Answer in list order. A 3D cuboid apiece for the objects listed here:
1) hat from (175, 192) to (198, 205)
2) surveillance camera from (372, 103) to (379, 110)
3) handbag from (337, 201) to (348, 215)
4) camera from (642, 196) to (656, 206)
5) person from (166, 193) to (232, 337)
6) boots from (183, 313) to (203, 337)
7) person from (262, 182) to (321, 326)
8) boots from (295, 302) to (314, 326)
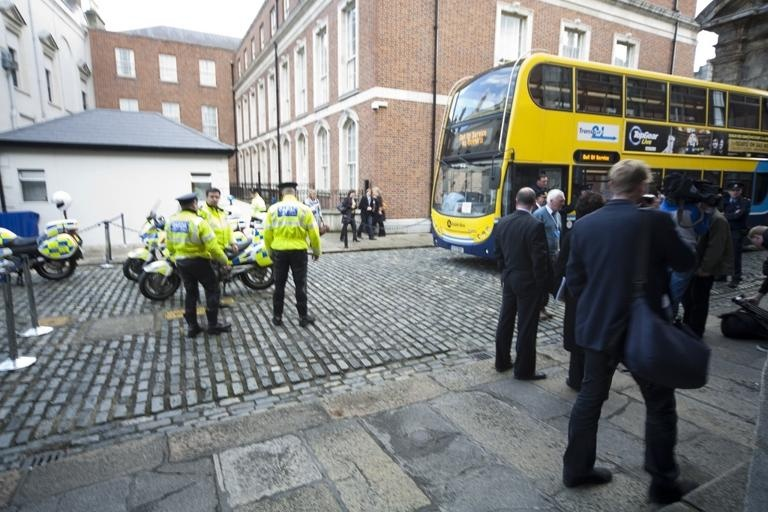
[{"bbox_3d":[-3.615,-1.048,9.587,0.326,0.170,0.440,-3,13,-17],"label":"hat"},{"bbox_3d":[-0.310,-5.713,19.985,0.325,0.189,0.250,0,6,-10],"label":"surveillance camera"},{"bbox_3d":[-1.397,-1.631,18.435,0.490,0.241,0.354,-13,26,-29],"label":"handbag"},{"bbox_3d":[3.812,-0.790,7.494,0.124,0.131,0.129,6,23,20],"label":"camera"},{"bbox_3d":[-3.413,0.179,9.516,1.147,2.537,0.682,2,11,12],"label":"person"},{"bbox_3d":[-3.484,1.248,9.552,0.279,0.431,0.327,-3,12,-16],"label":"boots"},{"bbox_3d":[-1.741,-0.041,10.014,1.070,2.652,0.907,-3,11,-14],"label":"person"},{"bbox_3d":[-1.497,1.094,9.988,0.321,0.444,0.341,-2,12,-11],"label":"boots"}]
